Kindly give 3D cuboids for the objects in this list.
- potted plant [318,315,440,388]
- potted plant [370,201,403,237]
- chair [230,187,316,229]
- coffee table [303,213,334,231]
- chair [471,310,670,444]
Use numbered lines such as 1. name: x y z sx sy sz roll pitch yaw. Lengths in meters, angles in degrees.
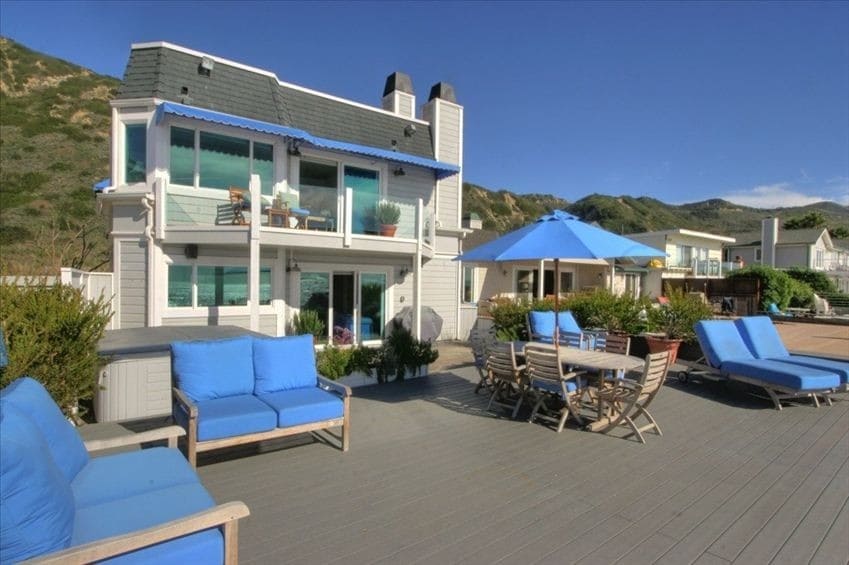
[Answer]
1. potted plant: -1.571 2.147 20.480 3.648 1.935 1.514 -4 10 -18
2. potted plant: -1.319 -2.270 23.478 1.014 1.309 1.005 3 -9 5
3. chair: -5.182 -2.511 21.810 2.145 1.137 1.312 -2 8 -40
4. coffee table: -3.617 -2.097 22.239 0.806 0.348 0.562 -1 2 -44
5. chair: 4.485 2.899 17.331 3.570 3.150 1.444 -1 0 8
